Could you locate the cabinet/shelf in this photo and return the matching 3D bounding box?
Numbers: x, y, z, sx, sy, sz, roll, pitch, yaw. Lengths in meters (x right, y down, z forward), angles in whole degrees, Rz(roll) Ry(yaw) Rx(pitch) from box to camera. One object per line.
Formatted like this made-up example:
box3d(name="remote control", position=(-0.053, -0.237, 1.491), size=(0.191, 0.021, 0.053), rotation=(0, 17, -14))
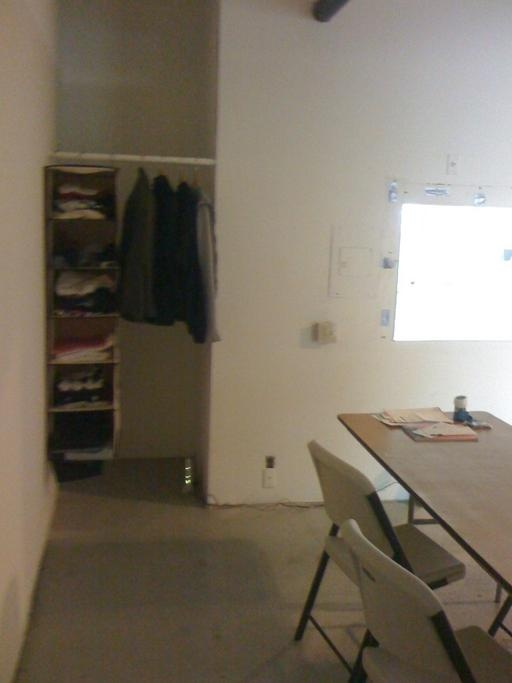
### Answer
box3d(name="cabinet/shelf", position=(-0.875, -0.052, 3.237), size=(0.346, 1.620, 0.503), rotation=(0, 13, -13))
